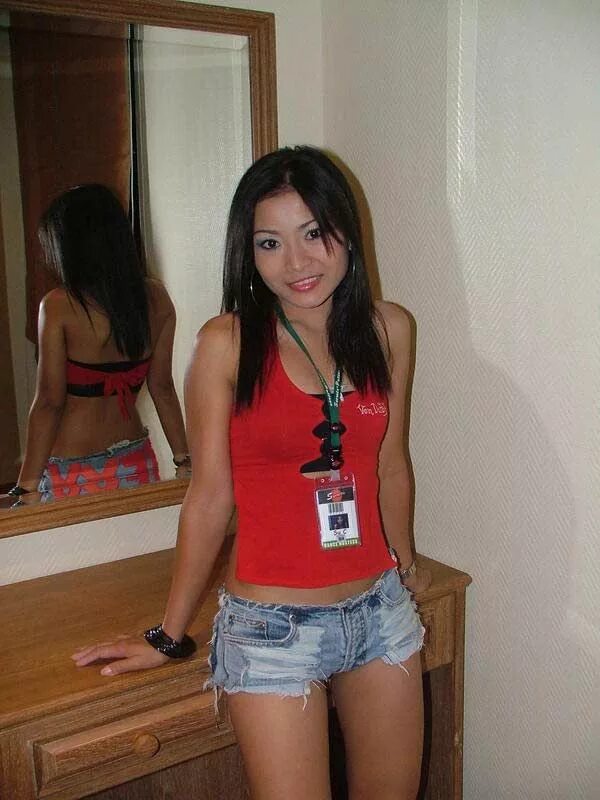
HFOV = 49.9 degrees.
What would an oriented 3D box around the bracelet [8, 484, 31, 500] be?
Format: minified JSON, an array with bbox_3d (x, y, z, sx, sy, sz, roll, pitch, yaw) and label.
[{"bbox_3d":[-0.576,0.189,1.325,0.015,0.019,0.044,0,-16,-3],"label":"bracelet"}]

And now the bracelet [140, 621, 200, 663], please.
[{"bbox_3d":[-0.212,0.392,1.054,0.085,0.032,0.044,32,16,8],"label":"bracelet"}]
